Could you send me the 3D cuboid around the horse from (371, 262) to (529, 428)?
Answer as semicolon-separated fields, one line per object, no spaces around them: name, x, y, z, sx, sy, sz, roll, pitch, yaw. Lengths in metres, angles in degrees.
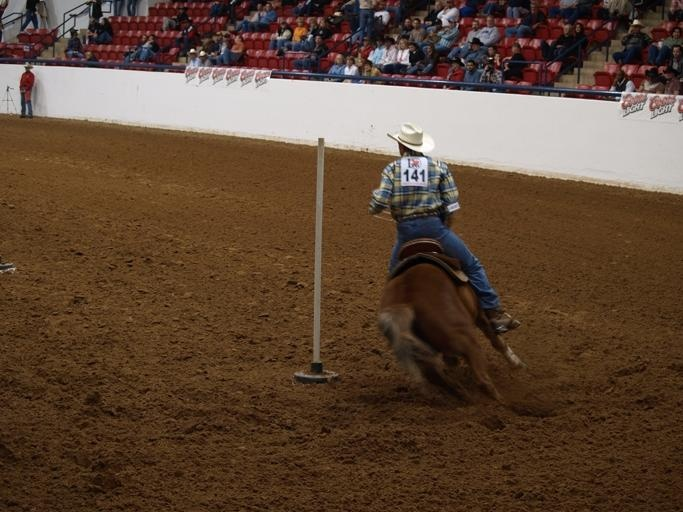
horse;0.894;0.808;7.122;1.228;1.397;0.759;-10;19;-39

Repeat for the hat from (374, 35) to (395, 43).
hat;1.336;-6.726;22.670;0.755;0.157;0.755;-9;18;-34

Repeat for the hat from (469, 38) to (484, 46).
hat;3.637;-5.833;19.990;0.251;0.224;0.602;6;14;17

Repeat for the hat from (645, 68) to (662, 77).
hat;7.119;-4.187;16.716;0.390;0.116;0.374;4;8;19
